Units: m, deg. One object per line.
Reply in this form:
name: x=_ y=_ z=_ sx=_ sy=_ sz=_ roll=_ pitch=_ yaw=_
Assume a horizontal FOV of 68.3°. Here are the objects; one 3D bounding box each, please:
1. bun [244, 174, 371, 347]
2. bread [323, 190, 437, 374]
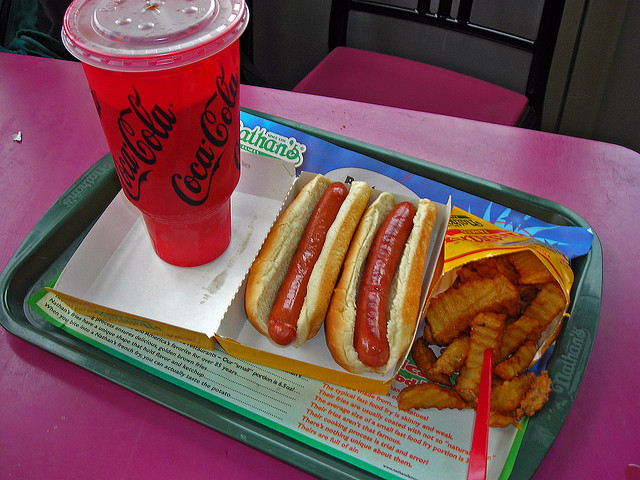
bun: x=-0.033 y=0.024 z=1.444 sx=0.222 sy=0.165 sz=0.576 roll=16 pitch=63 yaw=10
bread: x=0.196 y=0.139 z=1.513 sx=0.268 sy=0.206 sz=0.713 roll=2 pitch=36 yaw=17
